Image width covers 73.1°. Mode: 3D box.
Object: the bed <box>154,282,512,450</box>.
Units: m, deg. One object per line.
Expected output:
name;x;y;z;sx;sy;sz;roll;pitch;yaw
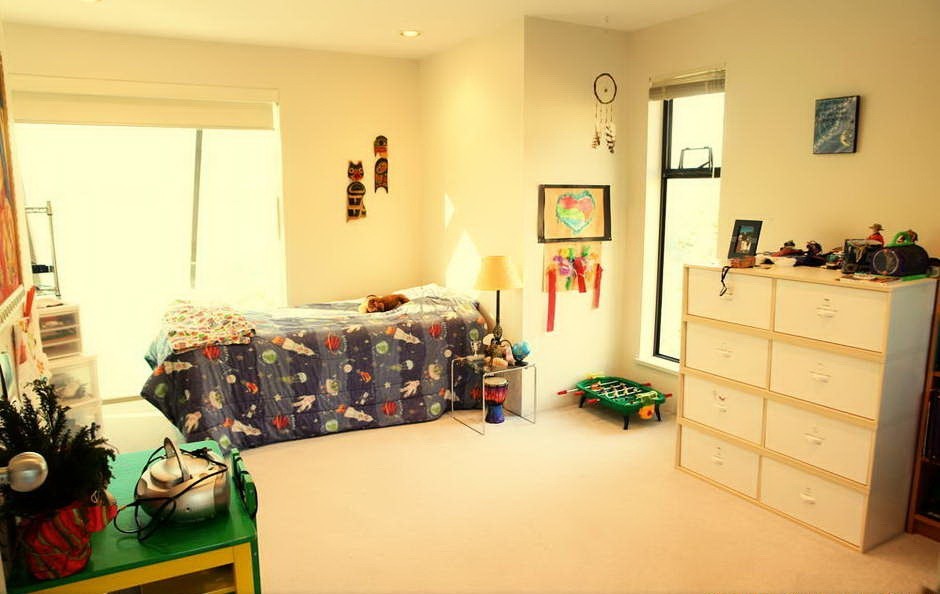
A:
bed;-1.238;0.540;5.319;2.104;0.644;1.242;-7;12;-25

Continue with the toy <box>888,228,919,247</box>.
toy;2.734;-0.373;3.988;0.116;0.087;0.434;6;12;38

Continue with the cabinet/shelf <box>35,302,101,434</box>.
cabinet/shelf;-3.134;0.547;4.997;0.326;0.949;0.389;-9;12;-34

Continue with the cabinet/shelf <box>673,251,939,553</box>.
cabinet/shelf;2.208;0.691;4.049;0.856;1.997;1.732;-2;8;-31

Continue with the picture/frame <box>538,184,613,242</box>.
picture/frame;0.883;-0.735;5.492;0.571;0.354;0.073;-1;2;-22

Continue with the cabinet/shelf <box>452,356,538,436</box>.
cabinet/shelf;0.191;0.803;5.590;0.660;0.617;0.687;-5;10;-37
